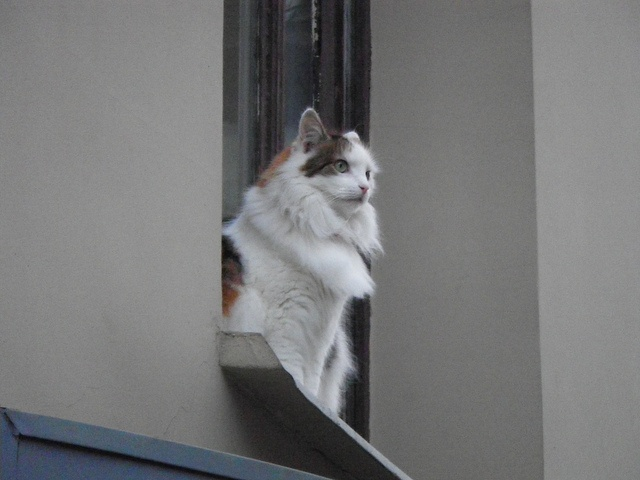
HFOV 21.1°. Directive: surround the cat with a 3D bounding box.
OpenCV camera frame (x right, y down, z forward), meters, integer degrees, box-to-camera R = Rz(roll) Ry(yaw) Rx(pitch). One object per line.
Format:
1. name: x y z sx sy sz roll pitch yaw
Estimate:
1. cat: -0.066 0.081 6.438 0.683 1.034 0.266 5 -2 -26
